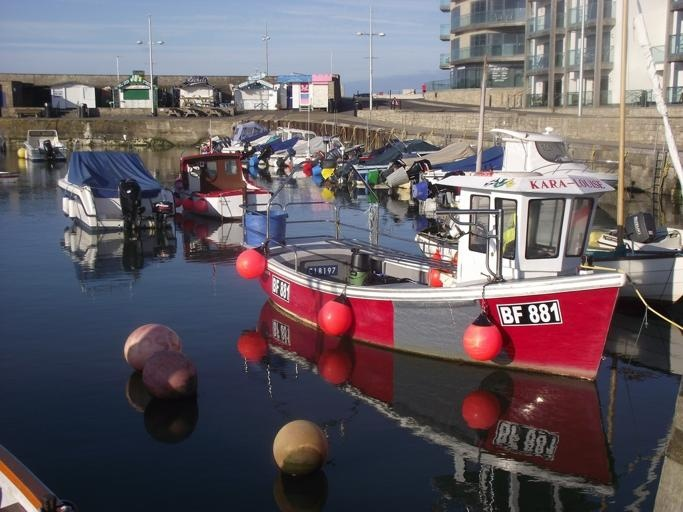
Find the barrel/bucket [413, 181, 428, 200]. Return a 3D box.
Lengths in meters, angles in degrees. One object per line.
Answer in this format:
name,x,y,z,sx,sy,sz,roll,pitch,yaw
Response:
barrel/bucket,2.705,-2.239,25.203,0.637,0.663,0.500,2,-2,38

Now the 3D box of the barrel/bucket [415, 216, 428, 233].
barrel/bucket,2.279,-0.935,21.094,0.418,0.435,0.477,10,-8,7

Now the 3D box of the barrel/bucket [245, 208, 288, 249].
barrel/bucket,-1.840,-0.639,17.176,0.882,0.681,0.901,1,10,0
